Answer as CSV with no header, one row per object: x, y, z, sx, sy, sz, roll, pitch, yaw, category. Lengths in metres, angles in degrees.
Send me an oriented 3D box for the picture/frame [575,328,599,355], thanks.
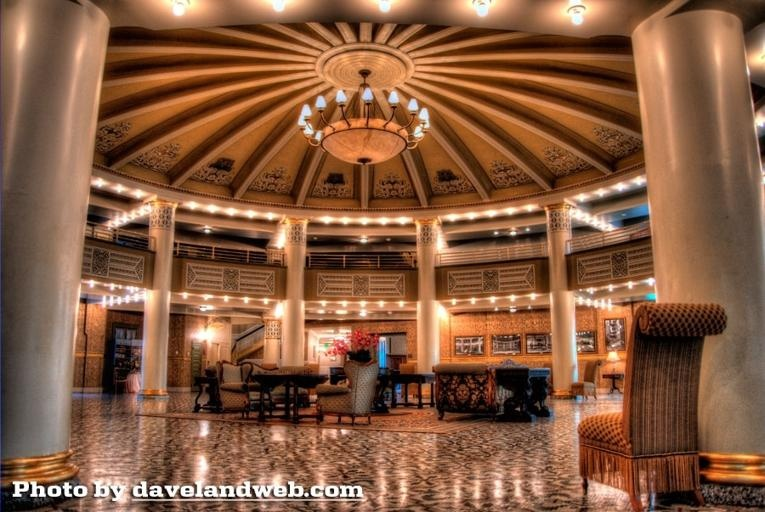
7.571,3.160,19.149,1.086,0.973,0.123,-24,-26,38,picture/frame

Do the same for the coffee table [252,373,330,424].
-1.871,2.551,9.959,1.385,0.772,1.396,-7,-17,25,coffee table

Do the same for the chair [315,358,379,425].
-0.624,2.541,9.678,1.137,1.002,1.122,-3,-18,11,chair

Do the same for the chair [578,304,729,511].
2.180,1.181,4.163,0.837,1.505,0.921,3,-14,-16,chair
